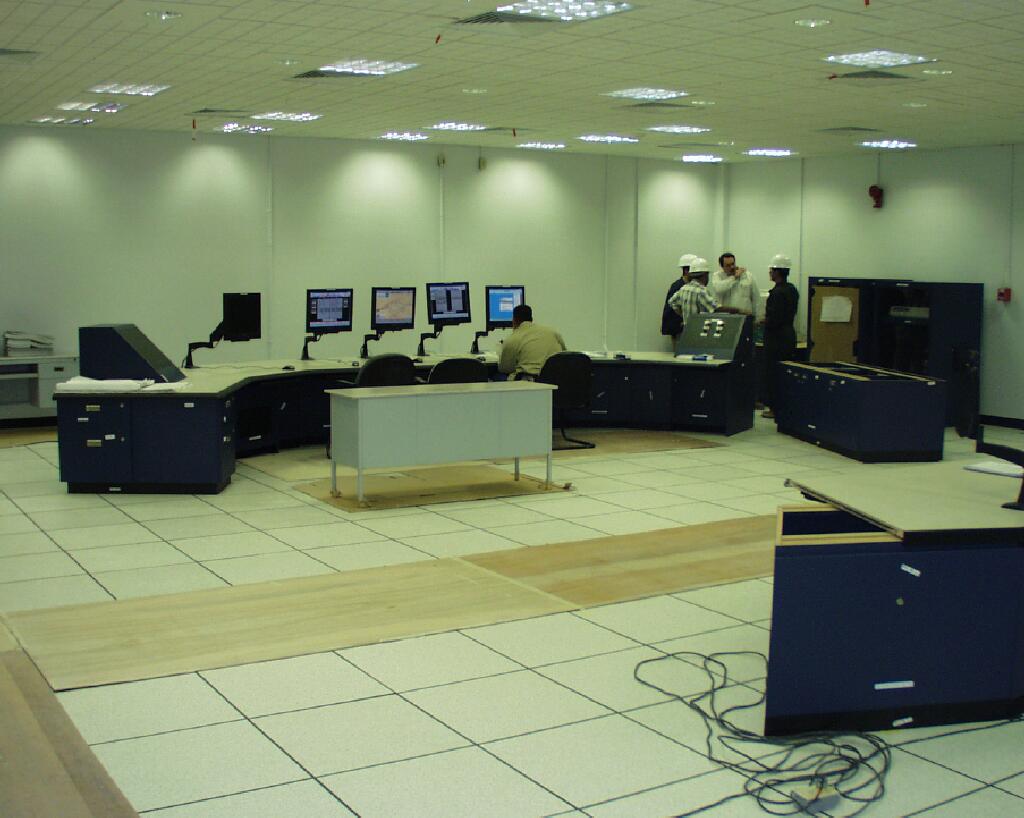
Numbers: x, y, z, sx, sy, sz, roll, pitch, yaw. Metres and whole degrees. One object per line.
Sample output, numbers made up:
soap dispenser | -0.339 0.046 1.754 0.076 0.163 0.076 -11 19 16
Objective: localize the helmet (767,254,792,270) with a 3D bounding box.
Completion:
helmet | 3.528 -1.921 11.595 0.365 0.217 0.455 0 11 -1

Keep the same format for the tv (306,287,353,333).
tv | -2.010 -1.069 9.580 0.600 0.471 0.201 -1 6 -28

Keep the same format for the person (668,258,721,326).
person | 2.375 -1.540 11.513 0.573 0.840 1.725 2 9 11

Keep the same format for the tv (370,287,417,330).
tv | -1.362 -1.134 9.912 0.565 0.439 0.070 -3 13 -25

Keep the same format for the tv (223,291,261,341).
tv | -2.790 -0.951 9.051 0.131 0.476 0.484 6 10 33

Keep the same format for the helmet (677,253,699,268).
helmet | 2.579 -2.192 13.020 0.373 0.160 0.432 -1 4 -2
